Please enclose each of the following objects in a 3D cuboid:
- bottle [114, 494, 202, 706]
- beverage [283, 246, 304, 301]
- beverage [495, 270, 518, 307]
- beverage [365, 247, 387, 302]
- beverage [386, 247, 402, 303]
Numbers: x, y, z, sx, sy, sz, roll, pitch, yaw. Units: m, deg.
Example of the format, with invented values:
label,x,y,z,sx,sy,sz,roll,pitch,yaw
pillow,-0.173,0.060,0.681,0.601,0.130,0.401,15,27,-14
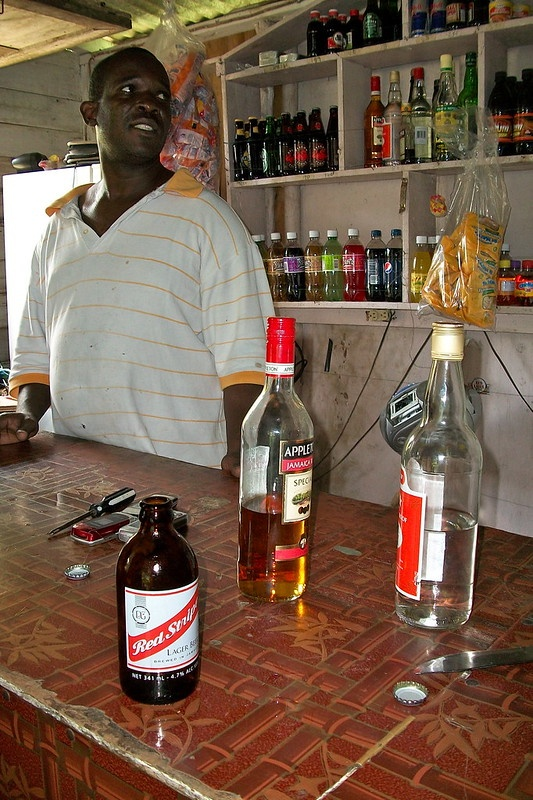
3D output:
label,x,y,z,sx,sy,sz,roll,pitch,yaw
bottle,-0.089,0.163,0.505,0.064,0.164,0.048,0,11,6
beverage,0.123,-0.590,2.756,0.092,0.283,0.086,-5,10,-21
beverage,0.841,-0.396,2.221,0.058,0.120,0.131,3,11,20
beverage,0.429,-0.493,2.478,0.075,0.207,0.113,-4,11,-14
beverage,0.482,-0.486,2.452,0.045,0.196,0.104,-7,12,-28
